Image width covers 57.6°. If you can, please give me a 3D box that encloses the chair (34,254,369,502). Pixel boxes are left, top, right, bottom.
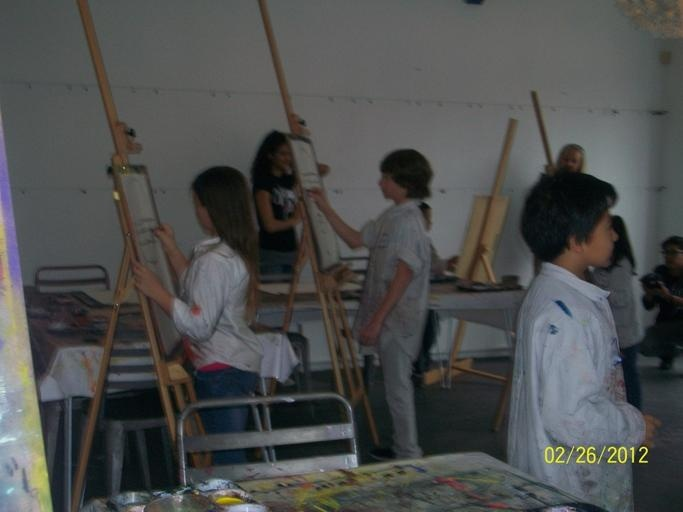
[{"bbox_3d":[-0.480,0.500,2.249,0.884,0.657,0.877,-4,11,-18],"label":"chair"}]

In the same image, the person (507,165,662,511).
[{"bbox_3d":[0.762,0.287,2.032,0.438,1.068,0.264,-2,0,14],"label":"person"}]
